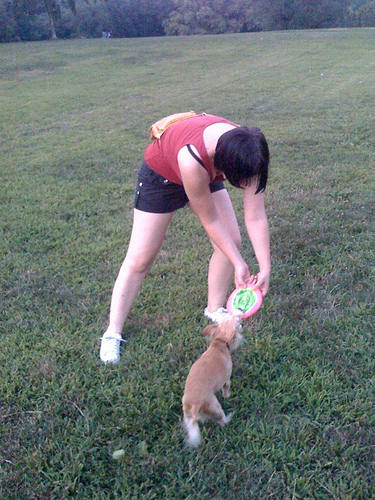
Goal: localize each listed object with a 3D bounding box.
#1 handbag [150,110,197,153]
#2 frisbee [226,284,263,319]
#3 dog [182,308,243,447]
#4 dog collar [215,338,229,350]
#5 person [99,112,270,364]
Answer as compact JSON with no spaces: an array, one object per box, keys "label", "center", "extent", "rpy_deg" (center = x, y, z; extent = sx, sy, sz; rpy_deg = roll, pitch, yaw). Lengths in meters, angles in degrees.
[{"label":"handbag","center":[-0.041,-0.704,2.450],"extent":[0.302,0.133,0.232],"rpy_deg":[-29,41,-9]},{"label":"frisbee","center":[0.399,0.359,2.548],"extent":[0.214,0.021,0.220],"rpy_deg":[-28,45,52]},{"label":"dog","center":[0.226,0.652,2.184],"extent":[0.200,0.429,0.743],"rpy_deg":[5,45,26]},{"label":"dog collar","center":[0.214,0.558,2.407],"extent":[0.069,0.134,0.025],"rpy_deg":[11,42,24]},{"label":"person","center":[0.057,-0.196,2.874],"extent":[1.068,1.518,1.522],"rpy_deg":[-3,26,12]}]
